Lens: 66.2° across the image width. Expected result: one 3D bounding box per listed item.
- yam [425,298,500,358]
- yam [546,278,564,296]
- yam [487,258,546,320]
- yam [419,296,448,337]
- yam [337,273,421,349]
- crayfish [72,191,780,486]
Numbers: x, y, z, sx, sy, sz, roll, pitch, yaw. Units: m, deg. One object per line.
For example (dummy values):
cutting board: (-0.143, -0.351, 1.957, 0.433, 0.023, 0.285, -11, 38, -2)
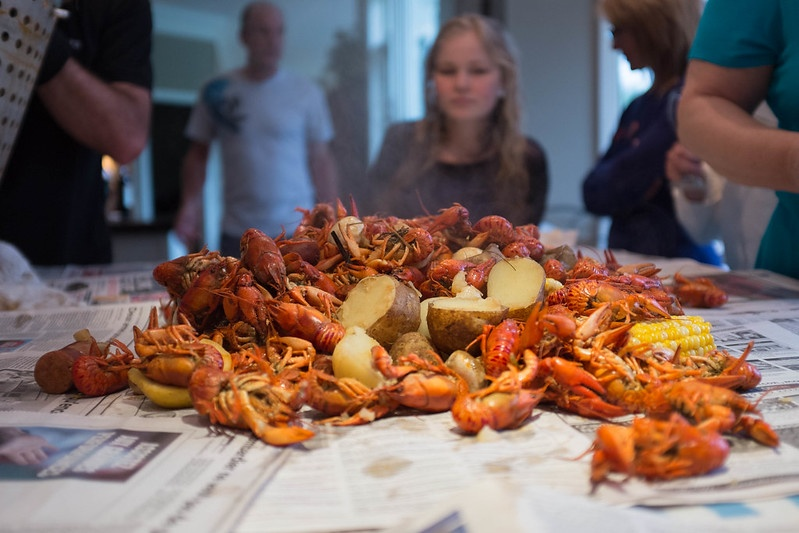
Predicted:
yam: (0.113, 0.097, 1.051, 0.121, 0.092, 0.113, -2, 6, 12)
yam: (0.287, 0.039, 1.156, 0.028, 0.021, 0.035, 1, 7, 17)
yam: (0.207, 0.038, 1.134, 0.112, 0.102, 0.086, -1, 9, -6)
yam: (0.048, 0.087, 1.103, 0.065, 0.062, 0.063, 3, 7, -6)
yam: (-0.032, 0.074, 1.077, 0.132, 0.087, 0.128, -7, 40, 1)
crayfish: (0.051, 0.074, 1.126, 1.137, 0.356, 0.573, -1, 12, 11)
